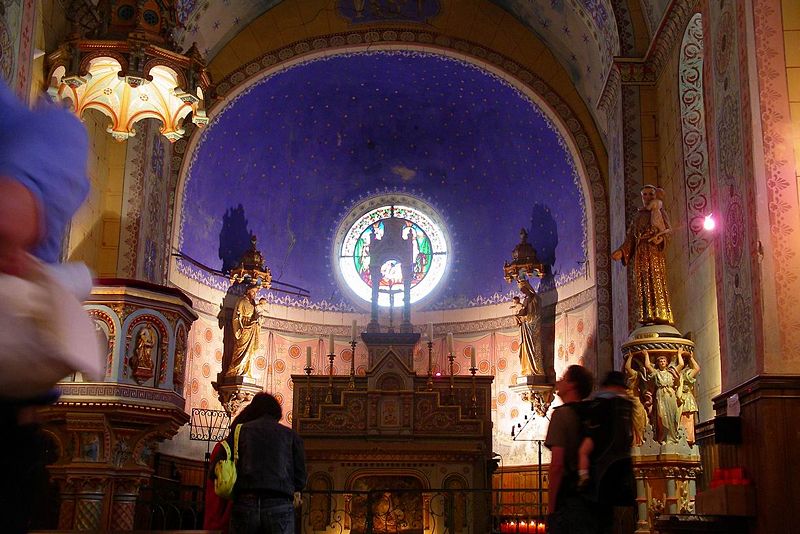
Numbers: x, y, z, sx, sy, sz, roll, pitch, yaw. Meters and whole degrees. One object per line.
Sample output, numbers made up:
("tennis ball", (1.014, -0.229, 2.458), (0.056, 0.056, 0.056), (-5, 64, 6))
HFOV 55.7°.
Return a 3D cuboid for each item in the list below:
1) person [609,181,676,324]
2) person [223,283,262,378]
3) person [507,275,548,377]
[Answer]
("person", (3.059, -0.090, 9.296), (0.399, 1.716, 0.737), (7, -18, -19))
("person", (-3.118, 1.338, 15.356), (0.646, 1.956, 0.725), (5, -17, -14))
("person", (2.615, 1.225, 15.315), (0.548, 2.027, 0.510), (-2, -17, 11))
